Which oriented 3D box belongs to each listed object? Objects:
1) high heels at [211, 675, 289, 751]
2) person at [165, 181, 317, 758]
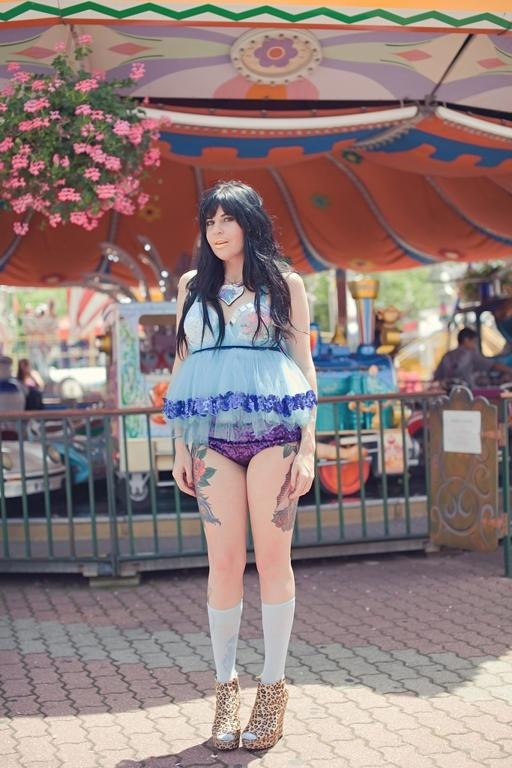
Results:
[{"bbox_3d":[-0.016,1.010,2.487,0.158,0.104,0.259,-1,-10,0],"label":"high heels"},{"bbox_3d":[-0.039,0.251,2.452,0.443,1.701,0.247,-2,2,3],"label":"person"}]
